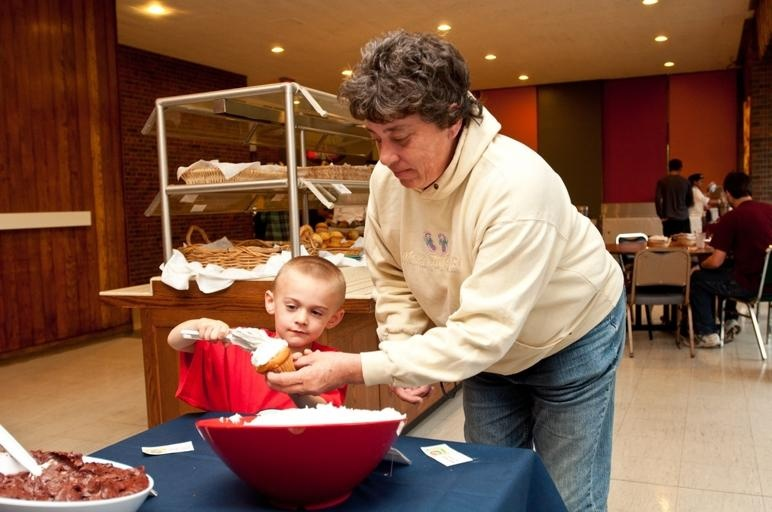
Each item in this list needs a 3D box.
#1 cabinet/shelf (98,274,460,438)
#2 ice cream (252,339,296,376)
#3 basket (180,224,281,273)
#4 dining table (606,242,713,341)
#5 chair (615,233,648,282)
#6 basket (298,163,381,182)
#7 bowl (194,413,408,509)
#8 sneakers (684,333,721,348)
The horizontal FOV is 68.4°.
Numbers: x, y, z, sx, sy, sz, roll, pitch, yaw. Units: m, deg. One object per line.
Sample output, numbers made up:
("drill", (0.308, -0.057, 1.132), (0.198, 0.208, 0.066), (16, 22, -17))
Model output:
("cabinet/shelf", (-0.680, 0.385, 3.417), (1.459, 0.947, 1.179), (2, 5, 40))
("ice cream", (-0.322, 0.287, 1.668), (0.101, 0.099, 0.091), (21, 3, -7))
("basket", (-0.918, -0.029, 3.364), (0.464, 0.159, 0.393), (1, 7, 16))
("dining table", (2.617, 0.328, 5.511), (0.558, 1.024, 0.695), (-2, 15, 16))
("chair", (2.890, 0.008, 6.696), (0.393, 0.577, 0.424), (-4, -1, 39))
("basket", (-0.308, -0.541, 3.622), (0.337, 0.083, 0.246), (0, 2, 24))
("bowl", (-0.208, 0.515, 1.455), (0.323, 0.116, 0.323), (-1, -8, 0))
("sneakers", (3.048, 0.815, 5.491), (0.280, 0.130, 0.105), (3, 7, 24))
